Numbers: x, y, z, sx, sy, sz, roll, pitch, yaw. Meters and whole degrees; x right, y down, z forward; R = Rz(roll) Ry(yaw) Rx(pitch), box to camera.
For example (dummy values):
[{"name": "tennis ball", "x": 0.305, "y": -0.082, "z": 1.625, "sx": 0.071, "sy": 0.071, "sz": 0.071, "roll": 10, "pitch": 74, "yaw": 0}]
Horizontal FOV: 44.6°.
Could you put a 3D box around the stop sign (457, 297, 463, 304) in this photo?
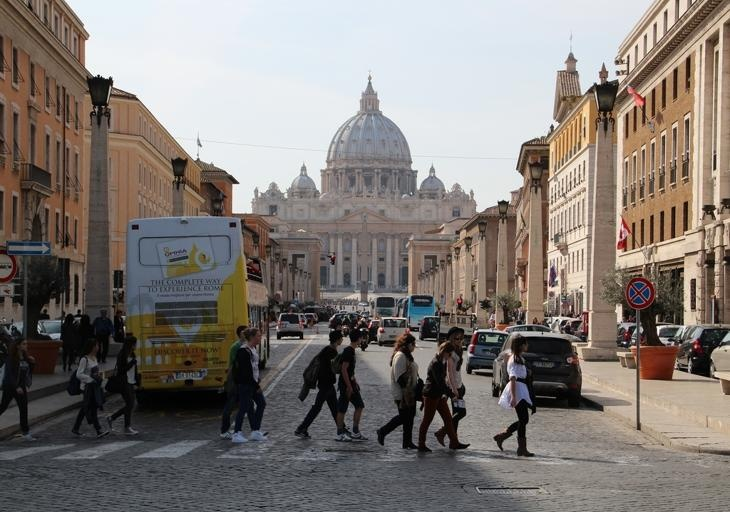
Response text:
[{"name": "stop sign", "x": 9.582, "y": 4.527, "z": 89.815, "sx": 0.459, "sy": 0.656, "sz": 0.205, "roll": 5, "pitch": 4, "yaw": 35}]

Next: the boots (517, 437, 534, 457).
[{"name": "boots", "x": 2.881, "y": 3.442, "z": 15.969, "sx": 0.335, "sy": 0.315, "sz": 0.280, "roll": 3, "pitch": -8, "yaw": -11}]

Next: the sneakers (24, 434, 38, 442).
[{"name": "sneakers", "x": -6.612, "y": 3.622, "z": 17.589, "sx": 0.277, "sy": 0.141, "sz": 0.107, "roll": 1, "pitch": 4, "yaw": 2}]

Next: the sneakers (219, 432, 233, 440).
[{"name": "sneakers", "x": -2.701, "y": 3.510, "z": 17.255, "sx": 0.260, "sy": 0.129, "sz": 0.100, "roll": 0, "pitch": 3, "yaw": -4}]

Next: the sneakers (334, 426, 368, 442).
[{"name": "sneakers", "x": -0.283, "y": 3.460, "z": 17.156, "sx": 0.655, "sy": 0.308, "sz": 0.243, "roll": 0, "pitch": -4, "yaw": -1}]

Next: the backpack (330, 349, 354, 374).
[{"name": "backpack", "x": -0.447, "y": 2.043, "z": 17.058, "sx": 0.229, "sy": 0.441, "sz": 0.437, "roll": 21, "pitch": -1, "yaw": -10}]

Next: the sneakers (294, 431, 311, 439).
[{"name": "sneakers", "x": -1.238, "y": 3.541, "z": 17.568, "sx": 0.374, "sy": 0.189, "sz": 0.131, "roll": 10, "pitch": -1, "yaw": 2}]

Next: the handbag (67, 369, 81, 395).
[{"name": "handbag", "x": -5.877, "y": 2.570, "z": 18.027, "sx": 0.256, "sy": 0.493, "sz": 0.485, "roll": 4, "pitch": -8, "yaw": -17}]

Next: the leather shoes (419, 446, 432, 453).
[{"name": "leather shoes", "x": 1.088, "y": 3.524, "z": 16.264, "sx": 0.253, "sy": 0.146, "sz": 0.391, "roll": 3, "pitch": -8, "yaw": -5}]

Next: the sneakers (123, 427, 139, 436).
[{"name": "sneakers", "x": -4.768, "y": 3.561, "z": 18.094, "sx": 0.269, "sy": 0.169, "sz": 0.361, "roll": 6, "pitch": -9, "yaw": -26}]

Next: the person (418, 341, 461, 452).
[{"name": "person", "x": 1.383, "y": 2.621, "z": 16.562, "sx": 0.750, "sy": 2.004, "sz": 0.942, "roll": 1, "pitch": -7, "yaw": 4}]

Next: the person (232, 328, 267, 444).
[{"name": "person", "x": -2.260, "y": 2.518, "z": 17.476, "sx": 0.638, "sy": 2.235, "sz": 0.992, "roll": 3, "pitch": -7, "yaw": -8}]

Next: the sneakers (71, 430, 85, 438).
[{"name": "sneakers", "x": -5.835, "y": 3.619, "z": 18.013, "sx": 0.139, "sy": 0.121, "sz": 0.349, "roll": -36, "pitch": -33, "yaw": 26}]

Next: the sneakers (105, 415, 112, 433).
[{"name": "sneakers", "x": -5.390, "y": 3.545, "z": 18.614, "sx": 0.136, "sy": 0.354, "sz": 0.124, "roll": 6, "pitch": 3, "yaw": 14}]
